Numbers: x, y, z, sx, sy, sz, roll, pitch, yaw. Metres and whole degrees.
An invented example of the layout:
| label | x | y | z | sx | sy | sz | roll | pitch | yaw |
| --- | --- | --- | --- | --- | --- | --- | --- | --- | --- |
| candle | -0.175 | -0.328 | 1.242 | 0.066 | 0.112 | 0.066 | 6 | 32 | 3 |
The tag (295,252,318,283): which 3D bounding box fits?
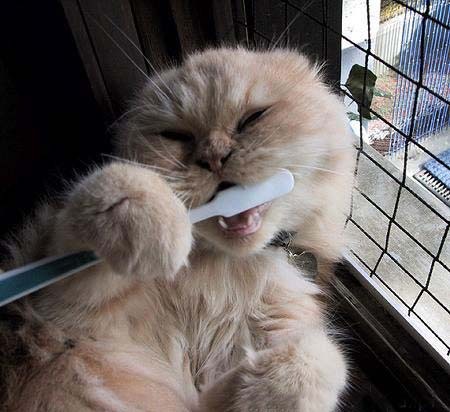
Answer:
| label | x | y | z | sx | sy | sz | roll | pitch | yaw |
| --- | --- | --- | --- | --- | --- | --- | --- | --- | --- |
| tag | 0.130 | 0.094 | 0.656 | 0.028 | 0.055 | 0.011 | -10 | 4 | -26 |
